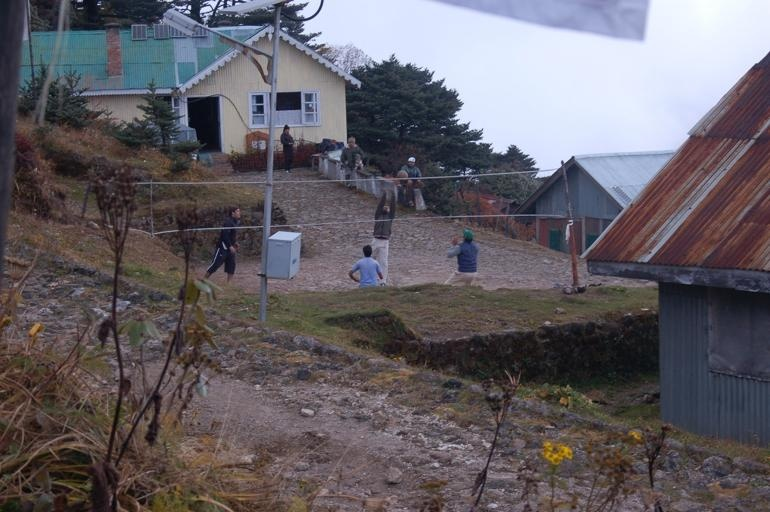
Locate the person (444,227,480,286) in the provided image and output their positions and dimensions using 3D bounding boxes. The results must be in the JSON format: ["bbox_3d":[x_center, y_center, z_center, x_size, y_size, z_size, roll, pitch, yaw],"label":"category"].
[{"bbox_3d":[1.610,0.023,19.288,0.543,1.161,1.041,8,5,14],"label":"person"}]

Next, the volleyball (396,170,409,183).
[{"bbox_3d":[0.491,-2.385,28.046,0.290,0.386,0.388,5,14,18],"label":"volleyball"}]

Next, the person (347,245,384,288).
[{"bbox_3d":[-0.344,0.192,19.317,0.645,0.878,1.290,7,5,2],"label":"person"}]
